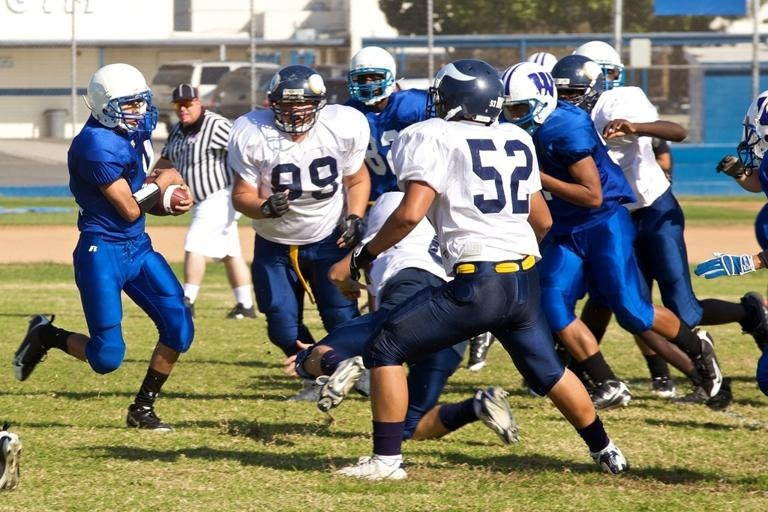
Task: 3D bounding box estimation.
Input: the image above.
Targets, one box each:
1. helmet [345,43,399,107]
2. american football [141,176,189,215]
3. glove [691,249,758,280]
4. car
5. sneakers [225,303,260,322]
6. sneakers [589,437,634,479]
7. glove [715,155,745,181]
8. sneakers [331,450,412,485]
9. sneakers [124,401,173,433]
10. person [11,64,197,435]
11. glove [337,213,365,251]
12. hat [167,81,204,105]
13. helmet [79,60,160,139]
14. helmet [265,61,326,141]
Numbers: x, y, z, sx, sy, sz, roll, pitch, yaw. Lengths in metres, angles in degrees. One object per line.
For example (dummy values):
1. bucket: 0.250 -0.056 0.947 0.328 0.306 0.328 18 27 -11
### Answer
1. helmet: -0.023 -1.551 9.625 0.513 0.379 0.387 -18 15 -39
2. american football: -1.675 -0.456 8.917 0.405 0.192 0.241 -4 8 -5
3. glove: 2.601 0.054 8.759 0.605 0.182 0.177 0 -7 1
4. car: -2.414 -3.477 23.118 4.373 1.544 2.140 -5 14 -12
5. sneakers: -1.495 0.594 12.138 0.424 0.152 0.128 0 1 -11
6. sneakers: 1.543 1.384 7.995 0.174 0.153 0.349 -31 24 -2
7. glove: 2.808 -0.710 9.208 0.245 0.110 0.160 18 35 -34
8. sneakers: -0.087 1.480 7.856 0.529 0.176 0.159 2 -4 4
9. sneakers: -1.741 1.252 8.705 0.449 0.159 0.150 7 3 5
10. person: -2.080 -0.051 8.627 1.250 2.721 0.841 -3 16 -8
11. glove: -0.250 -0.183 8.429 0.179 0.110 0.265 17 46 -7
12. hat: -1.976 -1.665 11.433 0.197 0.137 0.265 0 18 12
13. helmet: -2.019 -1.254 8.679 0.609 0.412 0.404 16 32 19
14. helmet: -0.655 -1.179 8.628 0.513 0.466 0.548 0 23 4
